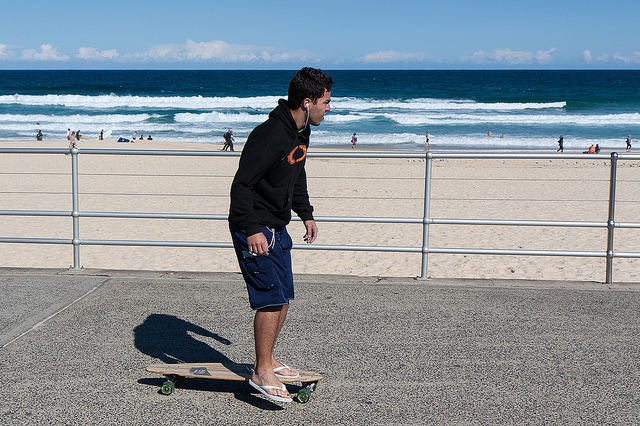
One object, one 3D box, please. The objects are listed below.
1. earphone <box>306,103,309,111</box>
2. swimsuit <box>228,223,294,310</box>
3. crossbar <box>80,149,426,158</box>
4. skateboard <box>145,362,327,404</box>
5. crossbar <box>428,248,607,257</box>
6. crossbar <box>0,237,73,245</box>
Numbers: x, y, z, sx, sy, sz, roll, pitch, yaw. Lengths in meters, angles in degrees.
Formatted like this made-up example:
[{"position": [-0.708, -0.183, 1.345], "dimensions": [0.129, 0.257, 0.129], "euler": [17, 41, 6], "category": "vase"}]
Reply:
[{"position": [-0.095, -0.821, 4.797], "dimensions": [0.023, 0.052, 0.008], "euler": [-1, 7, -18], "category": "earphone"}, {"position": [-0.454, 0.414, 4.854], "dimensions": [0.470, 0.638, 0.179], "euler": [0, 6, -9], "category": "swimsuit"}, {"position": [-0.753, -0.644, 6.709], "dimensions": [3.773, 0.076, 0.683], "euler": [1, 6, 3], "category": "crossbar"}, {"position": [-0.597, 1.276, 5.044], "dimensions": [1.845, 0.222, 0.449], "euler": [2, 8, 4], "category": "skateboard"}, {"position": [2.176, 0.422, 6.864], "dimensions": [1.937, 0.073, 0.262], "euler": [1, 6, -3], "category": "crossbar"}, {"position": [-3.190, 0.305, 6.999], "dimensions": [0.795, 0.049, 0.177], "euler": [1, 6, -6], "category": "crossbar"}]
